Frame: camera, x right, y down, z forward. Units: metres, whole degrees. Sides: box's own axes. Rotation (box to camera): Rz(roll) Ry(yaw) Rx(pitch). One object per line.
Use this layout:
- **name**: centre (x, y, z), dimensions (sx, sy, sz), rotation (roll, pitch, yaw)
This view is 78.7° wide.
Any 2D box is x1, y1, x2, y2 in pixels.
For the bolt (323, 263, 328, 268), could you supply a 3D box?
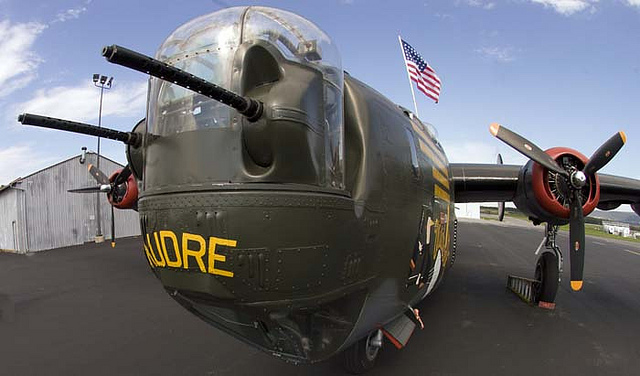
- **bolt**: centre (0.102, 1.632, 8.202), dimensions (0.117, 0.072, 0.044), rotation (-5, -9, 7)

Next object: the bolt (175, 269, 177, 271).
- **bolt**: centre (-3.052, 1.717, 8.177), dimensions (0.039, 0.041, 0.042), rotation (-2, 4, 15)

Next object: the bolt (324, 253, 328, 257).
- **bolt**: centre (0.114, 1.406, 8.190), dimensions (0.071, 0.071, 0.007), rotation (-2, 9, -14)

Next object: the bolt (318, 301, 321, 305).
- **bolt**: centre (-0.023, 2.443, 8.281), dimensions (0.062, 0.084, 0.016), rotation (-5, 10, -31)

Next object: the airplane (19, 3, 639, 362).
- **airplane**: centre (0.397, 1.230, 10.586), dimensions (11.005, 4.406, 9.940), rotation (-2, -5, 25)

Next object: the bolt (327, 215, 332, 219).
- **bolt**: centre (0.185, 0.609, 8.166), dimensions (0.062, 0.032, 0.061), rotation (4, -4, -39)

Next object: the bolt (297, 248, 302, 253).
- **bolt**: centre (-0.443, 1.285, 8.037), dimensions (0.067, 0.077, 0.036), rotation (13, 1, -4)

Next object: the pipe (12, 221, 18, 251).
- **pipe**: centre (-20.170, 3.184, 25.579), dimensions (0.268, 1.860, 0.772), rotation (-8, 12, -43)

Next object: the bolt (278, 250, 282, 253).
- **bolt**: centre (-0.837, 1.300, 7.987), dimensions (0.078, 0.054, 0.007), rotation (-1, 9, -7)
